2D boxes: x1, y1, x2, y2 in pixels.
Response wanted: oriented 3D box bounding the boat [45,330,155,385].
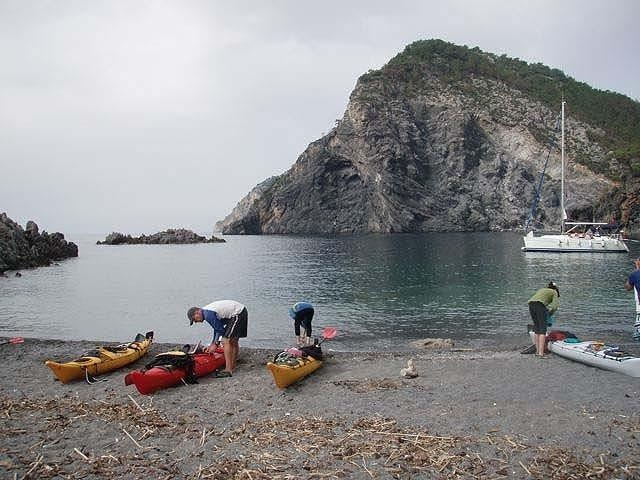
[{"bbox_3d":[-8.259,4.846,22.136,1.464,1.089,4.962,3,5,26],"label":"boat"}]
